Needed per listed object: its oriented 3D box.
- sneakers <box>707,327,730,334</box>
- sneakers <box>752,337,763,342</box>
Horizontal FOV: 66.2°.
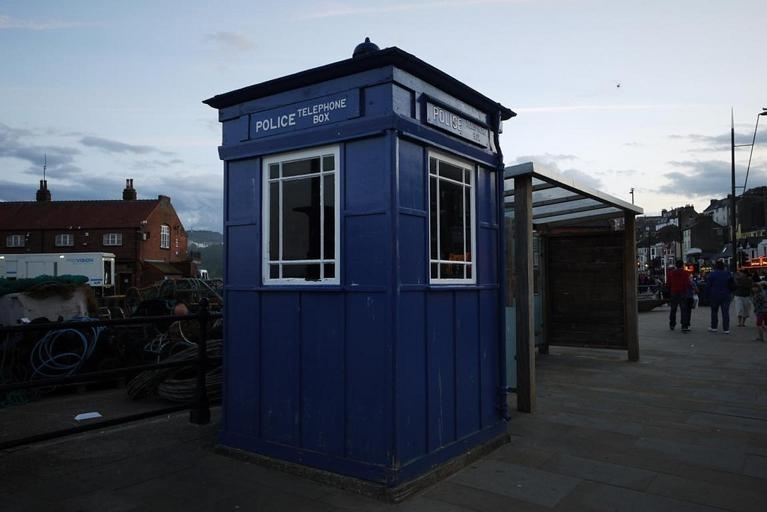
[{"bbox_3d":[9.861,2.162,17.346,0.578,0.263,0.218,-2,-5,34],"label":"sneakers"},{"bbox_3d":[9.947,2.199,15.638,0.101,0.184,0.257,2,-1,-39],"label":"sneakers"}]
